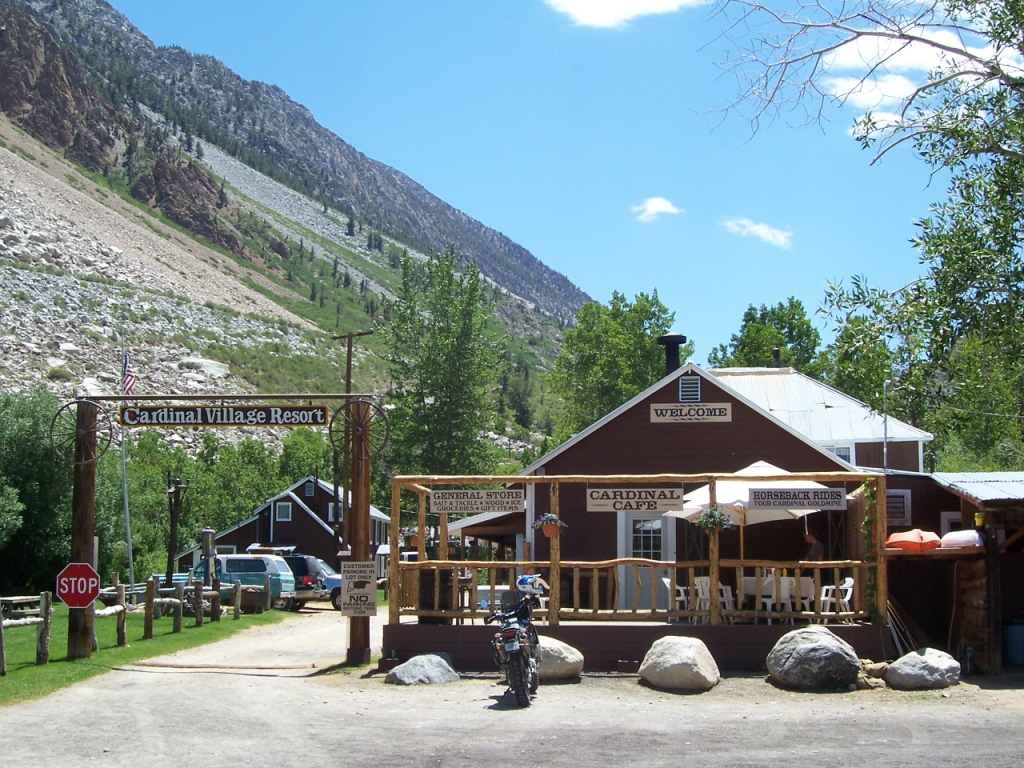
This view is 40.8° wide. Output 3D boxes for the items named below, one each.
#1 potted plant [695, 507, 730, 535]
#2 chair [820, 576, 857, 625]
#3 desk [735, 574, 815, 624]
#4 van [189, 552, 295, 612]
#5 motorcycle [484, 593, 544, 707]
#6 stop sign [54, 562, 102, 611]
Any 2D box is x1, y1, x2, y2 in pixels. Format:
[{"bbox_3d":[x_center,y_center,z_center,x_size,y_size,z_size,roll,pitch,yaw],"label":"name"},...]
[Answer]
[{"bbox_3d":[4.881,3.277,33.203,0.636,0.610,0.677,-2,6,11],"label":"potted plant"},{"bbox_3d":[7.971,5.279,33.402,0.933,1.450,1.027,2,-9,-10],"label":"chair"},{"bbox_3d":[6.555,5.212,33.521,1.433,1.546,1.533,0,-1,8],"label":"desk"},{"bbox_3d":[-9.919,7.262,51.091,3.172,1.778,2.086,3,-11,-1],"label":"van"},{"bbox_3d":[0.060,5.642,29.137,0.858,2.404,1.093,0,-13,0],"label":"motorcycle"},{"bbox_3d":[-10.370,4.775,32.747,0.882,1.028,0.958,4,-14,-15],"label":"stop sign"}]
